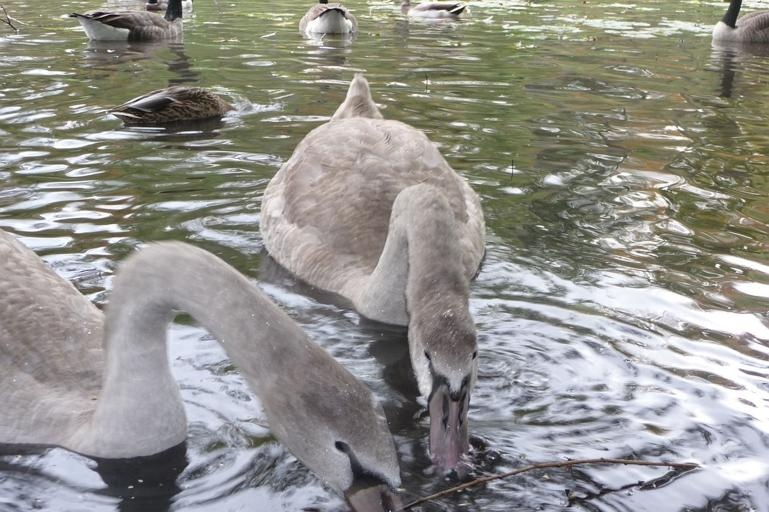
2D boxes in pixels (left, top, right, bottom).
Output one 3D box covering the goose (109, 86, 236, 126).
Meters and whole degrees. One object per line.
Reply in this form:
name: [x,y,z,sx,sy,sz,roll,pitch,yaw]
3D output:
goose: [-3.301,-2.290,12.613,1.806,0.548,0.564,-11,30,-27]
